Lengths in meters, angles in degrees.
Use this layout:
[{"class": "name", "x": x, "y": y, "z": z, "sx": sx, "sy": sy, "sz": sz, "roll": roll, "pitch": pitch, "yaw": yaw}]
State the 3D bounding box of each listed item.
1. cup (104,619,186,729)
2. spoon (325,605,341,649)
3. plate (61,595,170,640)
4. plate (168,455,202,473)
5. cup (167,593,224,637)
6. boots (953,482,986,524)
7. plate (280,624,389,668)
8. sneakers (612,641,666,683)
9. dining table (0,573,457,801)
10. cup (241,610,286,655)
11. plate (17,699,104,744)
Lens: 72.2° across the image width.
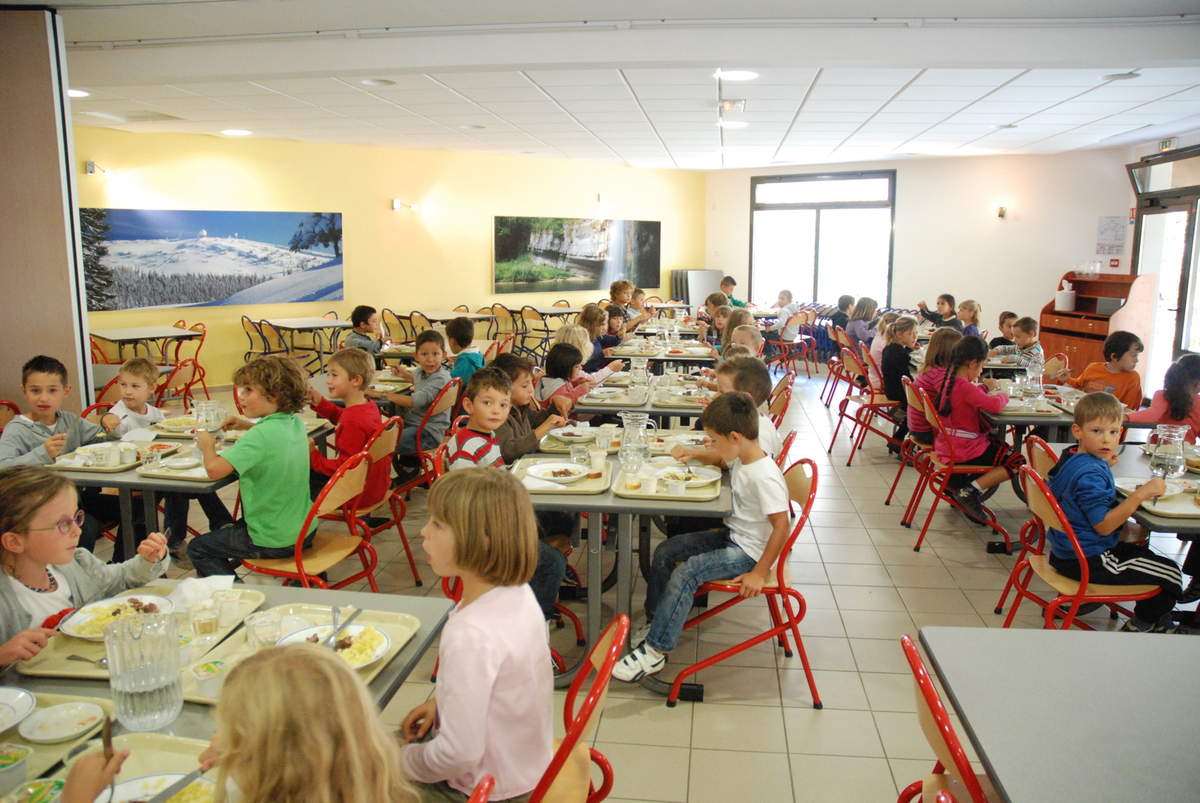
[{"class": "cup", "x": -1.383, "y": 0.825, "z": 2.523, "sx": 0.183, "sy": 0.344, "sz": 0.129, "roll": 4, "pitch": 12, "yaw": 8}, {"class": "spoon", "x": -0.906, "y": 0.767, "z": 2.819, "sx": 0.034, "sy": 0.021, "sz": 0.156, "roll": 9, "pitch": 31, "yaw": -14}, {"class": "plate", "x": -1.695, "y": 0.740, "z": 2.890, "sx": 0.219, "sy": 0.040, "sz": 0.212, "roll": -3, "pitch": 16, "yaw": -31}, {"class": "plate", "x": -2.094, "y": 0.300, "z": 4.207, "sx": 0.104, "sy": 0.022, "sz": 0.124, "roll": 13, "pitch": 16, "yaw": 30}, {"class": "cup", "x": -1.380, "y": 0.730, "z": 2.828, "sx": 0.139, "sy": 0.099, "sz": 0.143, "roll": 1, "pitch": -2, "yaw": 0}, {"class": "boots", "x": 2.524, "y": 0.687, "z": 5.661, "sx": 0.189, "sy": 0.089, "sz": 0.261, "roll": -33, "pitch": 59, "yaw": -8}, {"class": "plate", "x": -0.815, "y": 0.760, "z": 2.551, "sx": 0.217, "sy": 0.024, "sz": 0.226, "roll": 9, "pitch": 12, "yaw": 33}, {"class": "sneakers", "x": 0.178, "y": 1.211, "z": 3.839, "sx": 0.290, "sy": 0.115, "sz": 0.139, "roll": 3, "pitch": 3, "yaw": -22}, {"class": "dining table", "x": -1.146, "y": 0.877, "z": 2.499, "sx": 0.511, "sy": 0.202, "sz": 0.707, "roll": 5, "pitch": 7, "yaw": 31}, {"class": "cup", "x": -1.102, "y": 0.771, "z": 2.810, "sx": 0.153, "sy": 0.154, "sz": 0.148, "roll": 4, "pitch": -1, "yaw": 0}, {"class": "plate", "x": -1.625, "y": 0.981, "z": 2.530, "sx": 0.239, "sy": 0.073, "sz": 0.133, "roll": 1, "pitch": 11, "yaw": -8}]
